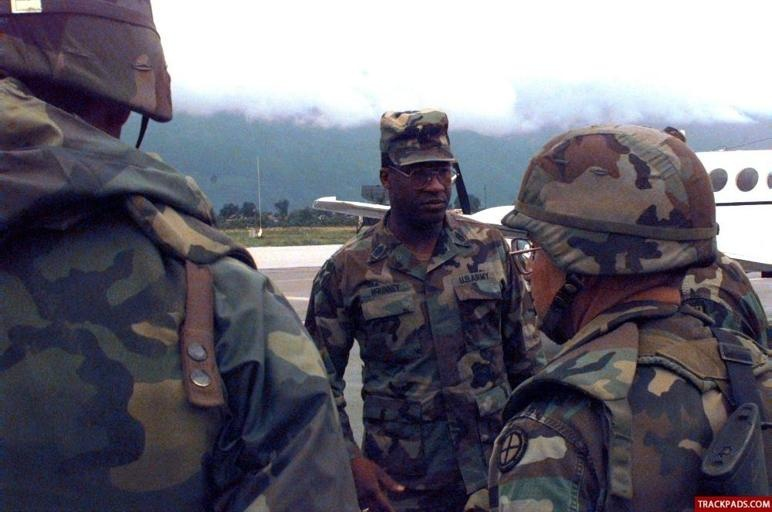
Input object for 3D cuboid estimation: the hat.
[{"bbox_3d":[0.205,-0.749,4.272,0.493,0.379,0.673,-5,8,-24],"label":"hat"}]
